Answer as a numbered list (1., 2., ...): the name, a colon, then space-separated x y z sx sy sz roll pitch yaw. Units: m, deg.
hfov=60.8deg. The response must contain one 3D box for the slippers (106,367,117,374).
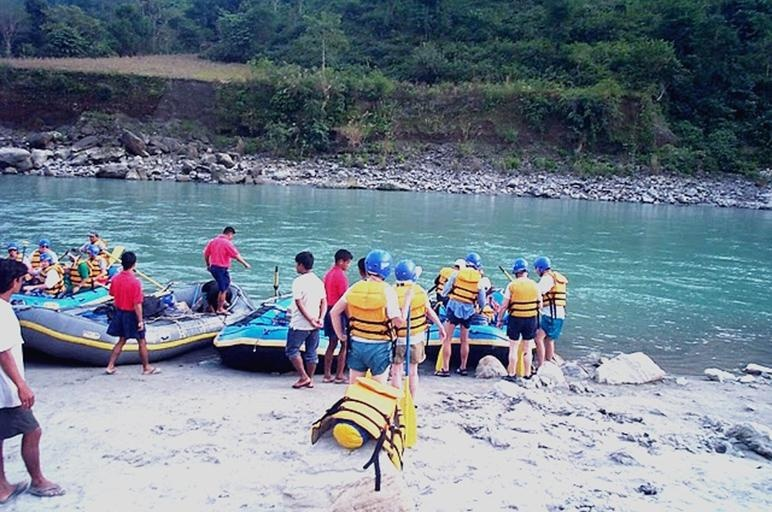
1. slippers: -6.174 2.588 14.789 0.284 0.104 0.120 4 -26 -12

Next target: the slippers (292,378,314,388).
1. slippers: -1.799 2.817 14.472 0.554 0.233 0.171 1 -5 2

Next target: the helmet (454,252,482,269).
1. helmet: 1.920 0.171 15.687 0.665 0.353 0.428 6 17 15

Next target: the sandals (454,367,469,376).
1. sandals: 1.824 2.784 15.777 0.327 0.129 0.131 6 9 32

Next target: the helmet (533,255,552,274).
1. helmet: 3.767 0.229 15.614 0.377 0.422 0.430 -6 31 -14

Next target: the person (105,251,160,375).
1. person: -5.737 1.253 14.819 1.164 2.794 0.893 0 14 -11

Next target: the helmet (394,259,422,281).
1. helmet: 0.452 0.243 13.134 0.340 0.366 0.489 7 23 16

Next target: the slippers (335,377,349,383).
1. slippers: -0.997 2.865 15.030 0.292 0.196 0.104 -8 13 -6

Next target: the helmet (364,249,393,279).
1. helmet: -0.058 0.109 12.972 0.446 0.536 0.564 13 19 28

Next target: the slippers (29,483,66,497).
1. slippers: -6.047 4.221 11.730 0.478 0.172 0.264 -2 -2 -1

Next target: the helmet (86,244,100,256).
1. helmet: -7.962 -0.155 17.882 0.267 0.299 0.367 2 -7 13

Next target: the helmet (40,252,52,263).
1. helmet: -9.004 0.038 17.408 0.275 0.237 0.205 23 16 6

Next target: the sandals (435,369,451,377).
1. sandals: 1.349 2.768 15.524 0.302 0.128 0.159 4 5 10

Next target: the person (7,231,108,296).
1. person: -8.451 0.273 17.446 1.292 0.969 2.159 6 7 12

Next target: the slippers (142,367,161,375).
1. slippers: -5.284 2.607 14.889 0.292 0.118 0.161 -7 20 -28
